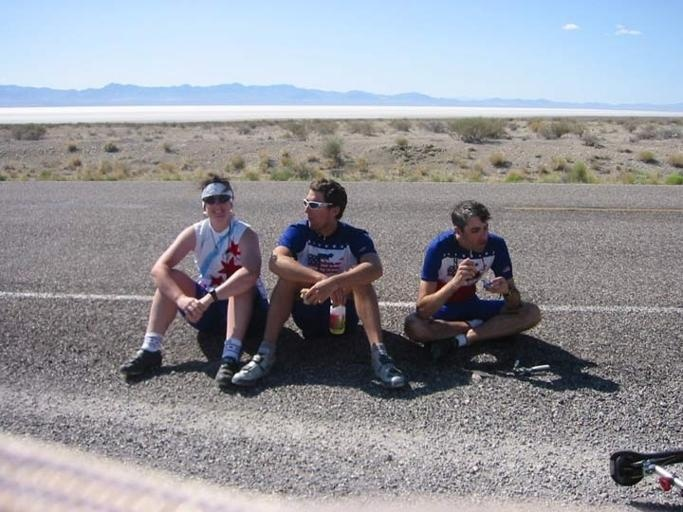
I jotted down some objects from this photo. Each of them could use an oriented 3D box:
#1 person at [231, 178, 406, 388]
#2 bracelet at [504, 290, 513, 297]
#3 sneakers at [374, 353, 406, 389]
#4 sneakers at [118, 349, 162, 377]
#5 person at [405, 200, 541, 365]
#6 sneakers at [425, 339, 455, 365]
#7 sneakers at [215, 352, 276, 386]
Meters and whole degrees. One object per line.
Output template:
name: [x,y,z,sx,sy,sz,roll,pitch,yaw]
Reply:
person: [-0.161,0.168,4.649,1.202,1.495,1.193,4,23,6]
bracelet: [1.517,0.346,4.875,0.057,0.027,0.066,-10,6,0]
sneakers: [0.379,0.932,4.338,0.144,0.174,0.371,-7,9,-19]
sneakers: [-1.681,0.916,4.529,0.142,0.176,0.361,12,14,37]
person: [1.184,0.142,5.011,1.248,1.341,1.023,-5,10,-5]
sneakers: [0.884,0.841,4.780,0.288,0.169,0.226,7,24,11]
sneakers: [-0.790,0.944,4.369,0.486,0.190,0.224,-4,24,-14]
